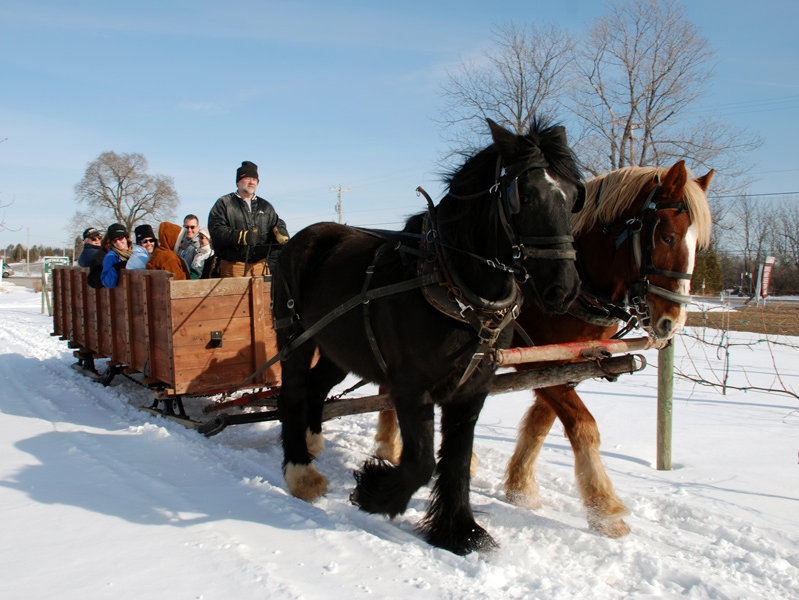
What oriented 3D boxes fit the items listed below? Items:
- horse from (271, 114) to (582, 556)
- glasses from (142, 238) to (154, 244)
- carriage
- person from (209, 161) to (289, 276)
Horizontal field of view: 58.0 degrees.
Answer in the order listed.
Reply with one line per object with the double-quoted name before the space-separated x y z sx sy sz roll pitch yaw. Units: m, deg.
"horse" 0.108 0.222 5.151 0.816 2.913 2.245 -6 14 -44
"glasses" -3.059 -0.682 8.754 0.102 0.066 0.093 -1 -7 -2
"carriage" 0.431 0.188 7.316 5.246 3.801 1.702 -1 -2 42
"person" -1.661 -0.605 7.975 0.970 1.640 0.964 2 10 -11
